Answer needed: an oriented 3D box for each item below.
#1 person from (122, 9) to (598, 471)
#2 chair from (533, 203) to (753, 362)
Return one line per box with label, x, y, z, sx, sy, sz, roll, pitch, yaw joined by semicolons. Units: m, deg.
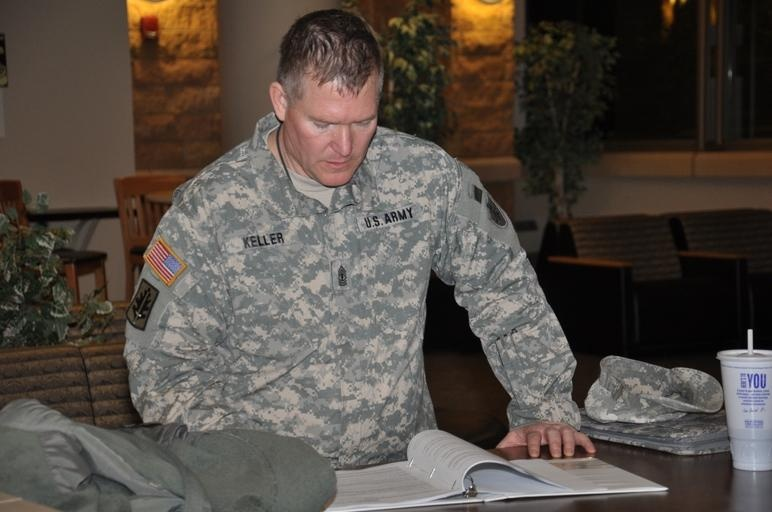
person;-0.070;-0.036;1.897;1.038;1.062;0.331;-1;3;-2
chair;1.164;0.136;3.778;1.043;0.636;0.676;-2;-3;-7
